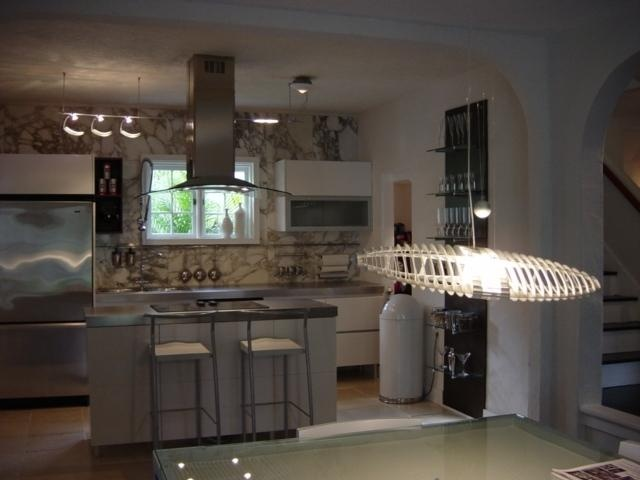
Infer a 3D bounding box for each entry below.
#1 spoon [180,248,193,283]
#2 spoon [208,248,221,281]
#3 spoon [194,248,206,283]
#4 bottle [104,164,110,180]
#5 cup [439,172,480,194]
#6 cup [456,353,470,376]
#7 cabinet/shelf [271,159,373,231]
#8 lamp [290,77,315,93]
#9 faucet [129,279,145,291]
[{"bbox_3d":[-1.747,0.370,7.006,0.174,0.402,0.087,-1,6,-17],"label":"spoon"},{"bbox_3d":[-1.379,0.330,7.114,0.179,0.448,0.093,-1,6,-13],"label":"spoon"},{"bbox_3d":[-1.573,0.347,7.060,0.159,0.420,0.082,-1,6,-15],"label":"spoon"},{"bbox_3d":[-2.618,-0.845,6.658,0.091,0.201,0.097,0,5,0],"label":"bottle"},{"bbox_3d":[1.366,-0.562,5.358,0.132,0.174,0.435,1,-4,-24],"label":"cup"},{"bbox_3d":[1.414,1.234,5.341,0.168,0.217,0.185,0,-5,-3],"label":"cup"},{"bbox_3d":[0.059,-0.579,7.117,0.929,0.710,0.304,0,0,-14],"label":"cabinet/shelf"},{"bbox_3d":[-0.192,-1.656,5.746,0.151,0.144,0.154,0,1,-4],"label":"lamp"},{"bbox_3d":[-2.258,0.564,6.685,0.180,0.112,0.388,-1,6,-19],"label":"faucet"}]
